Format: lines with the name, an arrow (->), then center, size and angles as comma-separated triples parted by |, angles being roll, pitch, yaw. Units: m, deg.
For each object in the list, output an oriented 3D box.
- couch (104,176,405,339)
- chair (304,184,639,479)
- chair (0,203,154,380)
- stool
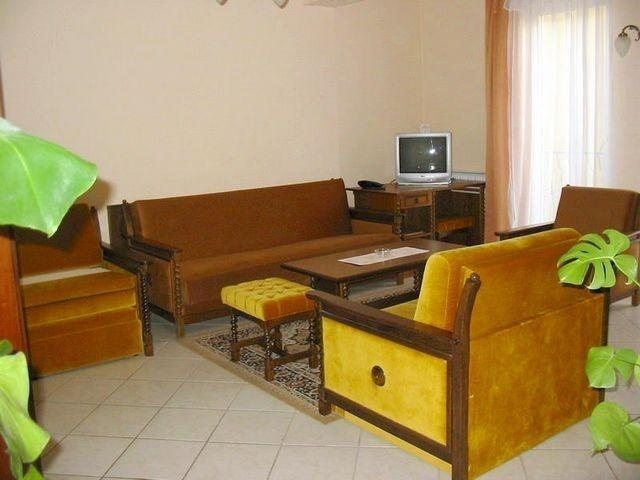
couch -> -0.502, 0.030, 4.960 | 2.603, 0.963, 1.106 | -11, 17, -33
chair -> 0.781, 0.516, 2.723 | 1.752, 1.045, 1.156 | -11, 16, -39
chair -> -2.040, 0.371, 3.988 | 1.131, 1.116, 1.131 | -6, 8, -21
stool -> -0.356, 0.631, 3.643 | 0.479, 0.574, 0.624 | -14, 17, -38
